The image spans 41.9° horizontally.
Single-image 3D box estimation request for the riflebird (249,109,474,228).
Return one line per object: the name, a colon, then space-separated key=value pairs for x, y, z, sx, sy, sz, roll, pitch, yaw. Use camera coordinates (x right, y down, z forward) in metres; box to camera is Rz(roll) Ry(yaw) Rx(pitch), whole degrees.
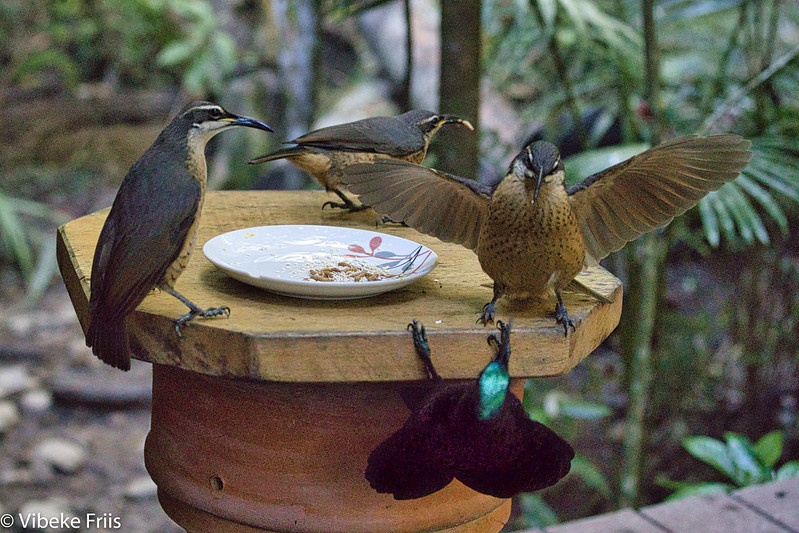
riflebird: x=-0.064 y=-0.429 z=4.438 sx=1.147 sy=0.513 sz=0.348 roll=1 pitch=16 yaw=-12
